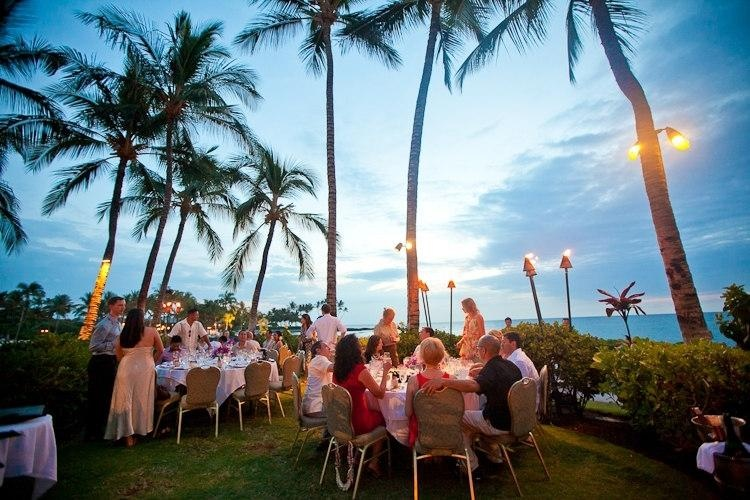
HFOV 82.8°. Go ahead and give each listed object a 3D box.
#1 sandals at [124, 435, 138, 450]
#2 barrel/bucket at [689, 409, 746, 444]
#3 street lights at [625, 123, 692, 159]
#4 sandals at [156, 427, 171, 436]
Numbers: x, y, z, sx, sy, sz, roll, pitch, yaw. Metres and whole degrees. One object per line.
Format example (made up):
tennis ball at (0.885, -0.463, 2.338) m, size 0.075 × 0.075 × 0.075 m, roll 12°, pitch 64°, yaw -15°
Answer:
sandals at (-5.908, 4.655, 10.332) m, size 0.240 × 0.257 × 0.245 m, roll -1°, pitch -25°, yaw -9°
barrel/bucket at (6.944, 3.606, 8.681) m, size 0.673 × 0.554 × 0.811 m, roll 3°, pitch -18°, yaw -4°
street lights at (7.458, -2.824, 11.113) m, size 0.471 × 0.769 × 1.305 m, roll -4°, pitch 6°, yaw -29°
sandals at (-5.450, 4.682, 10.947) m, size 0.140 × 0.084 × 0.249 m, roll 12°, pitch 0°, yaw 37°
